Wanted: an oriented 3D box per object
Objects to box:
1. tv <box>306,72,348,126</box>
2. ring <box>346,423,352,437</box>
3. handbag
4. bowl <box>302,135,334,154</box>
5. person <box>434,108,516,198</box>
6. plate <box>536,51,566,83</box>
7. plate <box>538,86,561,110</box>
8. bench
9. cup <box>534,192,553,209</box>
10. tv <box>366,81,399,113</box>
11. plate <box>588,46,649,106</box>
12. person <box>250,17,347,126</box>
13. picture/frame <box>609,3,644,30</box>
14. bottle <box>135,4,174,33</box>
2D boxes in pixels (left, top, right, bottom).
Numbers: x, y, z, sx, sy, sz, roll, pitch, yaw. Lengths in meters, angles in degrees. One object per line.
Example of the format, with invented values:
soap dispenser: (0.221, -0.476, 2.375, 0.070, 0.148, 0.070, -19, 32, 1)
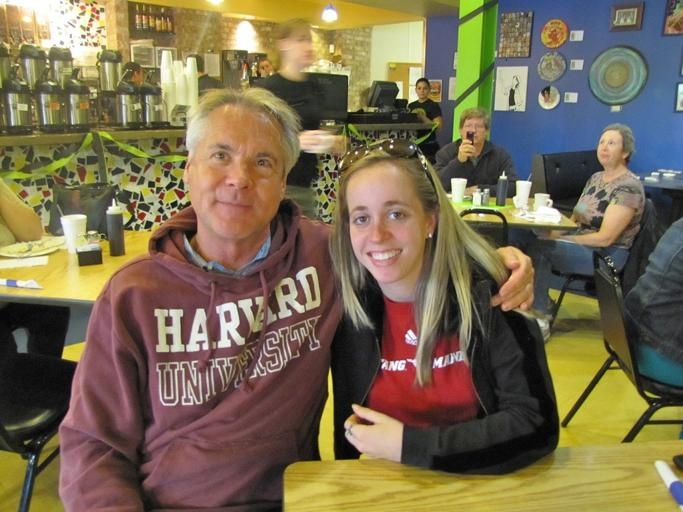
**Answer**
tv: (-0.074, -1.220, 4.185, 0.119, 0.451, 0.513, 0, 3, 36)
ring: (0.021, 0.504, 1.607, 0.010, 0.031, 0.023, 9, 1, -20)
handbag: (-1.334, -0.245, 2.968, 0.346, 0.325, 0.239, 2, -1, 5)
bowl: (-0.169, -0.710, 3.481, 0.141, 0.062, 0.143, -1, 7, 0)
person: (1.194, -0.753, 5.019, 0.725, 1.109, 0.628, -4, 17, -5)
plate: (2.790, -2.520, 7.372, 0.092, 0.352, 0.356, -8, 31, -41)
plate: (2.781, -2.127, 7.452, 0.287, 0.279, 0.069, 8, 8, 44)
bench: (2.084, -0.659, 5.130, 0.758, 0.505, 0.399, -13, 19, -31)
cup: (1.542, -0.434, 4.331, 0.180, 0.128, 0.141, 7, 10, 30)
tv: (0.402, -1.568, 5.543, 0.378, 0.377, 0.311, -6, 21, -16)
plate: (3.383, -2.224, 6.796, 0.149, 0.630, 0.634, -14, 38, -38)
person: (-0.337, -1.263, 4.073, 0.510, 0.874, 0.653, 7, 17, 29)
picture/frame: (3.429, -2.879, 6.632, 0.033, 0.327, 0.388, -17, 21, -34)
bottle: (-2.420, -3.042, 7.071, 0.092, 0.369, 0.405, 15, 19, 42)
